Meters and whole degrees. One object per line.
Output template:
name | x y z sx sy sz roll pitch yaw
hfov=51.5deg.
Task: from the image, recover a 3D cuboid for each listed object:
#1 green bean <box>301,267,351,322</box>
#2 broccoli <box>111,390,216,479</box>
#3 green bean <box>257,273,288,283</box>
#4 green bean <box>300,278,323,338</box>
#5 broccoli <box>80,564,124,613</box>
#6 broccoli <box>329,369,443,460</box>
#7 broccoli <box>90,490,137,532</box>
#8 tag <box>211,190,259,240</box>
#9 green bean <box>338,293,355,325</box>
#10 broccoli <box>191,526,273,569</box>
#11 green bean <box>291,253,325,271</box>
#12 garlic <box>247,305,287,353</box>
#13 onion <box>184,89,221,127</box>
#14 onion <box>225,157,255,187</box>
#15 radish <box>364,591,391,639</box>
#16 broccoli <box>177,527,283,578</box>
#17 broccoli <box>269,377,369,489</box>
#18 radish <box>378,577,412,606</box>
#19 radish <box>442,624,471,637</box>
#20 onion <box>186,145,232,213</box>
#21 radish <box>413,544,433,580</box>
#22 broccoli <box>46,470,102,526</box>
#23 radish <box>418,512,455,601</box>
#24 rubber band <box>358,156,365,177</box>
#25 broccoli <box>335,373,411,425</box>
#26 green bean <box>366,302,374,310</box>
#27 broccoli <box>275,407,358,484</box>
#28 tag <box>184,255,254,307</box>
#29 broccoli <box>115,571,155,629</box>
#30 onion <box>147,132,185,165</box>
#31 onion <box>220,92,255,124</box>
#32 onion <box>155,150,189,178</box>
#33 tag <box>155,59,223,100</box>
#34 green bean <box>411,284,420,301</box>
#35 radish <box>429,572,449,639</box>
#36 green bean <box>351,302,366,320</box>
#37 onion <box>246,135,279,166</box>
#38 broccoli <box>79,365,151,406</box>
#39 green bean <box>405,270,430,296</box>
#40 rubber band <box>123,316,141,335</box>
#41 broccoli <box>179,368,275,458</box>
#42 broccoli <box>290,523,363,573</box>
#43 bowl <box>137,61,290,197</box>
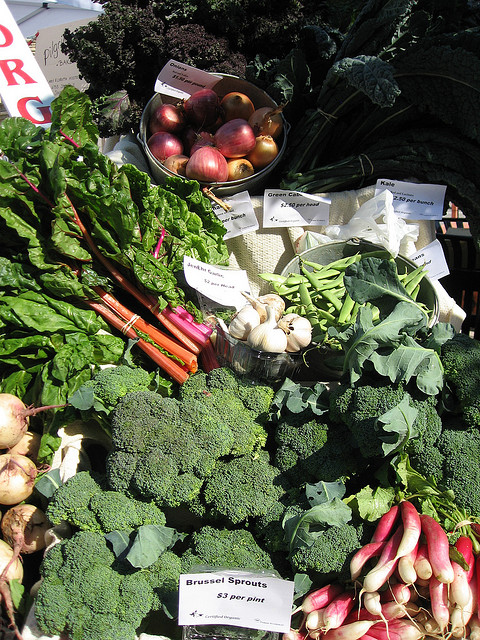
green bean | 0.347 -0.096 2.048 0.291 0.041 0.032 47 28 9
broccoli | -0.274 0.424 1.760 0.335 0.100 0.284 32 59 11
green bean | 0.141 -0.192 2.218 0.147 0.021 0.044 14 74 1
green bean | 0.282 -0.045 2.048 0.030 0.046 0.245 14 49 -41
broccoli | -0.428 0.819 1.517 0.121 0.039 0.135 0 58 -30
broccoli | 0.503 0.278 1.691 0.263 0.082 0.268 39 42 -7
broccoli | -0.410 0.619 1.626 0.125 0.044 0.134 -18 57 -40
tag | -0.038 -0.523 2.453 0.218 0.227 0.025 66 25 0
green bean | 0.429 -0.048 2.030 0.041 0.023 0.172 18 52 10
broccoli | -0.030 0.767 1.659 0.273 0.073 0.139 9 36 -6
green bean | 0.296 -0.252 2.225 0.159 0.039 0.046 17 1 -7
garlic | 0.105 0.052 1.949 0.164 0.154 0.202 11 76 4
onion | -0.206 -1.108 2.619 0.191 0.191 0.089 8 37 -8
onion | -0.005 -0.762 2.588 0.167 0.151 0.153 -3 -4 -3
radish | 0.388 0.847 1.431 0.038 0.036 0.114 2 60 -38
broccoli | -0.041 0.752 1.634 0.217 0.078 0.188 1 19 -27
broccoli | 0.252 0.385 1.799 0.377 0.172 0.356 -25 78 -7
radish | 0.445 0.787 1.449 0.049 0.101 0.046 -9 79 -27
radish | 0.614 0.882 1.422 0.066 0.028 0.051 -10 -4 5
onion | -0.167 -0.702 2.395 0.187 0.165 0.355 2 47 16
radish | 0.525 0.698 1.442 0.042 0.031 0.090 -11 23 10
broccoli | -0.540 0.593 1.692 0.168 0.067 0.200 8 26 -26
radish | 0.556 0.673 1.422 0.052 0.059 0.222 7 43 -19
rubber band | 0.606 -0.793 2.512 0.008 0.075 0.011 -17 -6 14
broccoli | 0.433 0.249 1.667 0.173 0.073 0.168 -30 29 -18
green bean | 0.514 -0.061 1.999 0.034 0.030 0.008 2 60 4
broccoli | 0.266 0.459 1.846 0.235 0.136 0.291 -40 54 -18
tag | -0.107 -0.163 2.149 0.293 0.012 0.210 22 39 -33
broccoli | -0.316 0.855 1.554 0.126 0.151 0.064 0 -5 30
onion | -0.374 -0.882 2.614 0.195 0.170 0.213 -2 11 -6
onion | -0.021 -1.110 2.608 0.172 0.197 0.159 1 75 -3
onion | -0.343 -0.767 2.555 0.141 0.130 0.163 -8 -2 -29
tag | -0.277 -1.271 2.641 0.340 0.184 0.118 3 38 -14
green bean | 0.730 -0.119 2.073 0.023 0.025 0.105 14 44 21
radish | 0.552 0.785 1.391 0.050 0.042 0.178 -9 69 8
green bean | 0.463 -0.047 2.018 0.021 0.044 0.083 38 79 -15
onion | 0.110 -0.848 2.564 0.153 0.162 0.145 3 0 -19
broccoli | -0.450 0.218 1.820 0.169 0.062 0.167 5 18 26
green bean | 0.722 -0.169 2.090 0.193 0.050 0.026 -38 43 -21
rubber band | -0.451 0.018 2.065 0.018 0.064 0.067 49 60 -17
broccoli | -0.017 0.346 1.841 0.346 0.099 0.320 -11 73 -14
broccoli | 0.273 0.712 1.541 0.182 0.089 0.155 -37 28 6
bowl | -0.160 -1.004 2.572 0.867 0.286 0.751 -4 58 -11
